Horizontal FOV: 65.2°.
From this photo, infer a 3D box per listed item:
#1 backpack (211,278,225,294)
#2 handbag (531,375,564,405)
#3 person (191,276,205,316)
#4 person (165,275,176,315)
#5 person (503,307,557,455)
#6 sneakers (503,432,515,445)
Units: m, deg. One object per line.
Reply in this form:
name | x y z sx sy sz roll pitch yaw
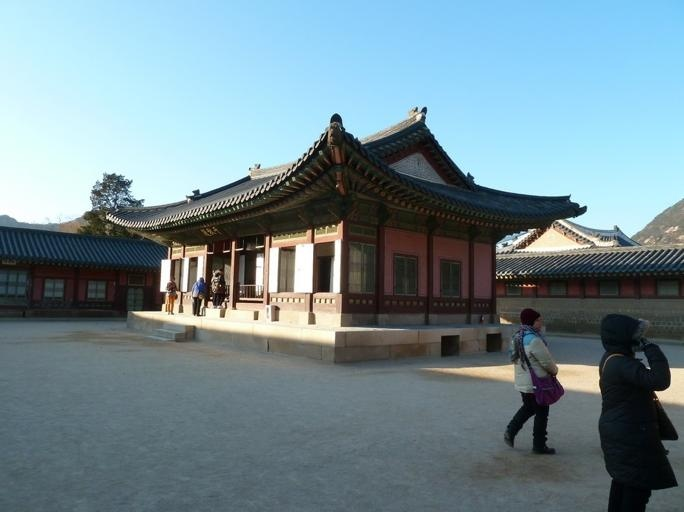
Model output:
backpack | -4.090 0.988 17.740 0.419 0.529 0.389 2 -7 -12
handbag | 2.448 1.568 6.261 0.382 0.356 0.125 3 -7 -18
person | -4.869 1.371 18.301 0.429 1.336 1.209 3 -7 -14
person | -6.460 1.446 20.267 0.382 1.474 1.421 3 -7 -16
person | 2.286 1.492 6.482 0.609 1.696 0.536 -1 -7 15
sneakers | 2.029 2.205 6.468 0.084 0.210 0.104 -17 -2 41
